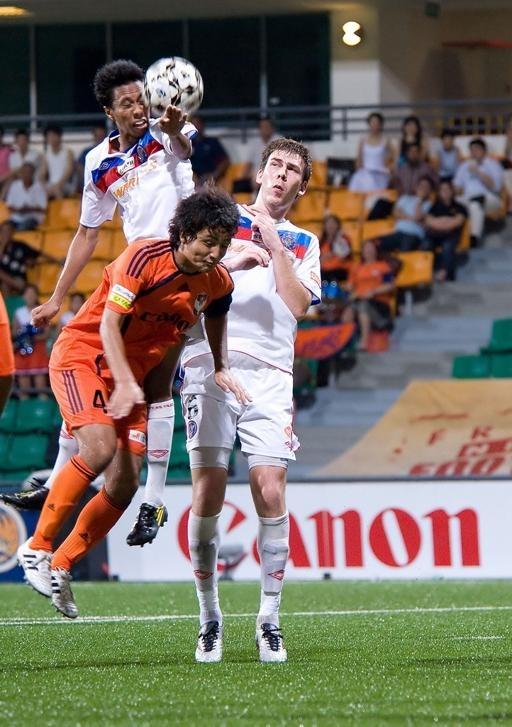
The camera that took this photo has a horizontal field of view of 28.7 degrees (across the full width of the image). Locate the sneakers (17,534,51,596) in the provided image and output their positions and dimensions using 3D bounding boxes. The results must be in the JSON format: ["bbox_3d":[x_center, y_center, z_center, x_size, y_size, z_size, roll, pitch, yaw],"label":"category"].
[{"bbox_3d":[-0.775,0.714,3.481,0.102,0.208,0.194,-6,10,-31],"label":"sneakers"}]

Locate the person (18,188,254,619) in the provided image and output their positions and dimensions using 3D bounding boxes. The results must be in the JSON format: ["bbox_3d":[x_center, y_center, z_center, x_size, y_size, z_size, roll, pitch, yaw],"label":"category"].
[{"bbox_3d":[-0.429,0.141,3.486,0.786,1.480,0.779,0,9,-1],"label":"person"}]

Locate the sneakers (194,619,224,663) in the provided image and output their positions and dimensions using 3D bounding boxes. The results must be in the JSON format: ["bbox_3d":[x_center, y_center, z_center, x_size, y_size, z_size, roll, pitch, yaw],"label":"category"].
[{"bbox_3d":[-0.165,0.978,3.508,0.063,0.166,0.073,-1,-36,4],"label":"sneakers"}]

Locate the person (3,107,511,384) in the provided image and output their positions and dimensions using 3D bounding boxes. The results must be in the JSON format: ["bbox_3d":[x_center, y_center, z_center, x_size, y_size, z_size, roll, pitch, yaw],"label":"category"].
[{"bbox_3d":[0.194,-0.707,6.220,3.571,1.011,0.582,0,4,12],"label":"person"}]

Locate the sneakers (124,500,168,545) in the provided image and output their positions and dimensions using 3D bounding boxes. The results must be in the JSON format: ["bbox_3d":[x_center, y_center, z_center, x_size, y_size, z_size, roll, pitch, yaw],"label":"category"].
[{"bbox_3d":[-0.433,0.644,3.999,0.089,0.108,0.252,3,23,21],"label":"sneakers"}]

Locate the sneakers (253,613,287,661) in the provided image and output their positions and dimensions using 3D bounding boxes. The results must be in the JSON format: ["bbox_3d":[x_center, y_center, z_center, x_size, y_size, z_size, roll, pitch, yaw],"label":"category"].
[{"bbox_3d":[0.047,0.957,3.505,0.068,0.078,0.168,-8,25,-6],"label":"sneakers"}]
